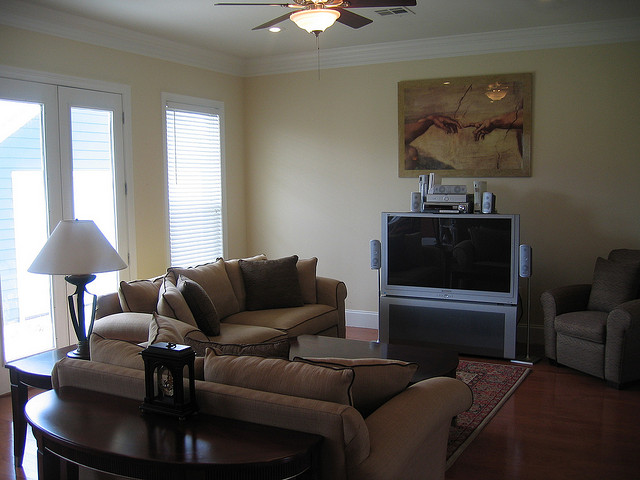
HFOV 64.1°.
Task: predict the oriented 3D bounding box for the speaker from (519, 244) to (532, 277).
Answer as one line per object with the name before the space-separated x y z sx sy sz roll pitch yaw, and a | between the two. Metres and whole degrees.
speaker | 1.974 0.201 4.959 0.101 0.316 0.178 0 12 2

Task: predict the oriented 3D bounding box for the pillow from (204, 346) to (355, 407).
pillow | -0.204 0.694 2.472 0.816 0.274 0.245 13 4 -33

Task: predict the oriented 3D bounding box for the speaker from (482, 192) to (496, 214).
speaker | 1.696 -0.378 5.140 0.124 0.210 0.201 3 12 16

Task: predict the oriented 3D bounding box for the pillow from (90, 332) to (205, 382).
pillow | -1.078 0.594 2.956 0.551 0.220 0.560 4 1 6

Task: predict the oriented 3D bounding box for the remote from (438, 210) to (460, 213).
remote | 1.313 -0.297 5.210 0.210 0.032 0.070 3 12 18

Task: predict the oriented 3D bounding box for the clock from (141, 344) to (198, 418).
clock | -0.705 0.665 2.392 0.331 0.388 0.169 -1 2 28

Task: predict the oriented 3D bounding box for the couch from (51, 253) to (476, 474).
couch | -0.033 0.630 3.084 2.020 0.817 1.834 3 8 31

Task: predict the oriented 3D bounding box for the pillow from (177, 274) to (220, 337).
pillow | -1.066 0.472 4.081 0.107 0.360 0.351 38 36 29

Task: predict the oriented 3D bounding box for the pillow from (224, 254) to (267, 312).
pillow | -0.718 0.381 4.817 0.453 0.449 0.184 3 -18 -33

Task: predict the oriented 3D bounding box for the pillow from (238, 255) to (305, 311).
pillow | -0.478 0.440 4.978 0.481 0.412 0.176 -5 -24 -10

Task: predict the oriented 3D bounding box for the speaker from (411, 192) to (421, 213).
speaker | 1.010 -0.395 5.370 0.099 0.194 0.127 2 12 10

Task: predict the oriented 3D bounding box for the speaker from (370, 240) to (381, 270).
speaker | 0.611 0.156 5.575 0.105 0.320 0.159 1 12 6

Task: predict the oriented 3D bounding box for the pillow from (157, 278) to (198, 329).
pillow | -1.051 0.475 3.789 0.116 0.232 0.316 -17 28 -21

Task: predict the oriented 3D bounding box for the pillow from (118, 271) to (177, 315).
pillow | -1.375 0.458 4.163 0.161 0.299 0.513 1 5 34
